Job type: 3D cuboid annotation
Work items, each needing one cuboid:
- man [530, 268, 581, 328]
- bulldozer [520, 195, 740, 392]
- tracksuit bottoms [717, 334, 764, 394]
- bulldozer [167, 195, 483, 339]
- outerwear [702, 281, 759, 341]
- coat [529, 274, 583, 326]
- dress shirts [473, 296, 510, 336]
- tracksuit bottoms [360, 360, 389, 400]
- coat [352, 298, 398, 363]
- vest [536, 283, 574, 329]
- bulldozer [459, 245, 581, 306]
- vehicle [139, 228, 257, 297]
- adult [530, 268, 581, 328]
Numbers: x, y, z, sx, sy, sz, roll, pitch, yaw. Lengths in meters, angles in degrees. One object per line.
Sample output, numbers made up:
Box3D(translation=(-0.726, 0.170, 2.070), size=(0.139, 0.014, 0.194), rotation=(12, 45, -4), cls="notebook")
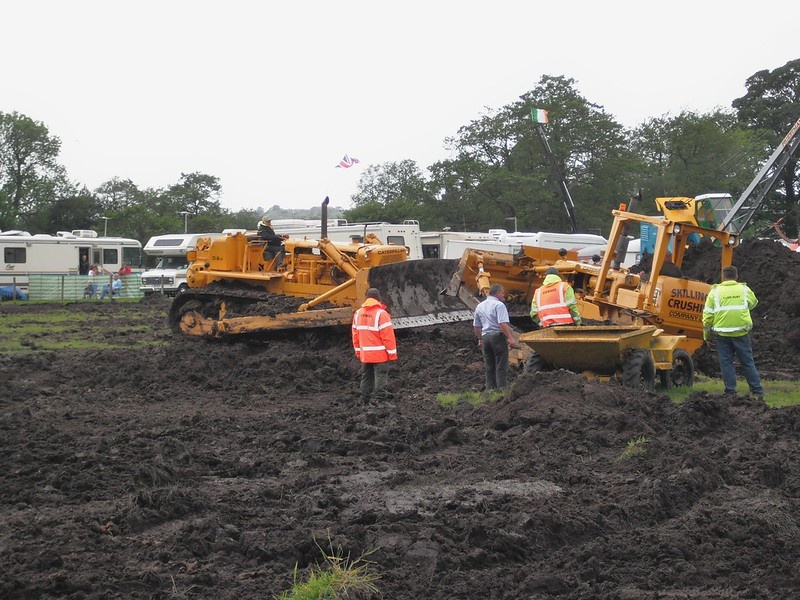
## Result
Box3D(translation=(2.325, 0.017, 11.149), size=(0.679, 0.994, 0.571), rotation=(-10, -15, 29), cls="man")
Box3D(translation=(3.275, -0.140, 11.171), size=(1.951, 2.773, 3.011), rotation=(13, 15, 43), cls="bulldozer")
Box3D(translation=(4.810, 0.905, 10.523), size=(0.461, 1.186, 0.311), rotation=(-7, -39, 19), cls="tracksuit bottoms")
Box3D(translation=(-2.283, -0.330, 15.833), size=(5.214, 2.621, 3.618), rotation=(0, 2, 30), cls="bulldozer")
Box3D(translation=(4.707, 0.133, 10.559), size=(0.730, 0.835, 0.557), rotation=(-3, 6, 15), cls="outerwear")
Box3D(translation=(2.331, 0.016, 11.156), size=(0.692, 0.944, 0.563), rotation=(-10, -13, 31), cls="coat")
Box3D(translation=(1.349, 0.236, 11.049), size=(0.568, 0.558, 0.248), rotation=(-7, -3, 43), cls="dress shirts")
Box3D(translation=(-0.385, 1.199, 10.962), size=(0.457, 0.842, 0.267), rotation=(6, 8, 41), cls="tracksuit bottoms")
Box3D(translation=(-0.396, 0.473, 10.914), size=(0.626, 0.963, 0.364), rotation=(-1, 8, 1), cls="coat")
Box3D(translation=(2.268, 0.051, 11.120), size=(0.610, 0.693, 0.408), rotation=(-4, -6, 18), cls="vest")
Box3D(translation=(2.216, -0.590, 14.855), size=(2.022, 0.862, 1.180), rotation=(-3, 8, -32), cls="bulldozer")
Box3D(translation=(-8.817, -1.488, 30.786), size=(2.279, 2.608, 4.369), rotation=(2, 8, 25), cls="vehicle")
Box3D(translation=(2.334, 0.022, 11.176), size=(0.687, 1.002, 0.626), rotation=(-9, -14, 28), cls="adult")
